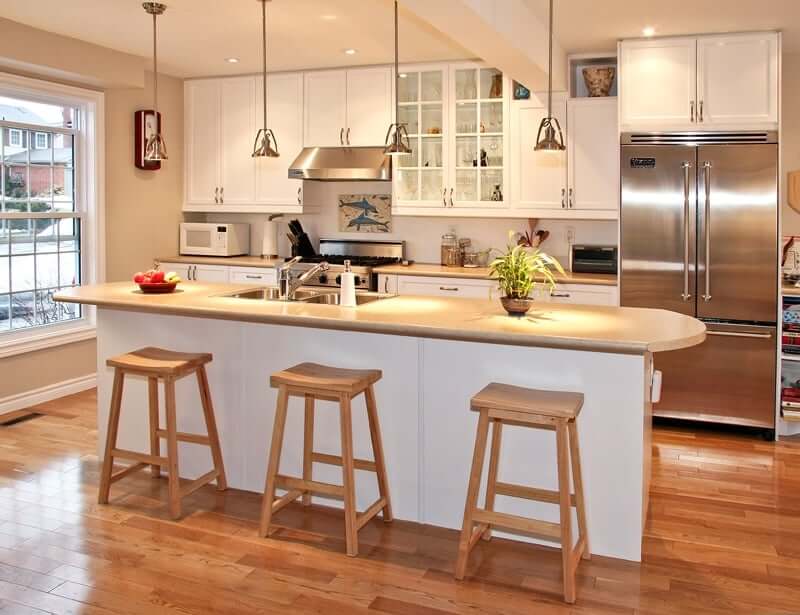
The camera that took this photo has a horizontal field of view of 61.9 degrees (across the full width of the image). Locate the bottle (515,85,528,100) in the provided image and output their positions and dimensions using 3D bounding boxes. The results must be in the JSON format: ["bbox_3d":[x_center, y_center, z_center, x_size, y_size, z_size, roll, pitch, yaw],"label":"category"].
[{"bbox_3d":[1.031,-1.818,5.666,0.136,0.122,0.042,21,-1,9],"label":"bottle"}]

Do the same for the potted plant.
[{"bbox_3d":[0.746,-0.104,3.651,0.361,0.298,0.372,9,-18,-15],"label":"potted plant"}]

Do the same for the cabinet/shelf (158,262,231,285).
[{"bbox_3d":[-2.006,-0.353,6.496,0.747,0.173,0.130,5,14,21],"label":"cabinet/shelf"}]

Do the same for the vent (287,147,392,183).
[{"bbox_3d":[-0.563,-1.328,6.121,0.906,0.309,0.385,7,14,28],"label":"vent"}]

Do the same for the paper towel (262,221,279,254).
[{"bbox_3d":[-1.308,-0.689,6.698,0.129,0.346,0.236,0,13,-3],"label":"paper towel"}]

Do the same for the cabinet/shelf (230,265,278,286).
[{"bbox_3d":[-1.399,-0.306,6.273,0.575,0.170,0.176,9,15,34],"label":"cabinet/shelf"}]

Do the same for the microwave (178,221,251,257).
[{"bbox_3d":[-1.846,-0.673,6.811,0.614,0.321,0.393,1,2,19],"label":"microwave"}]

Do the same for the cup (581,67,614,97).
[{"bbox_3d":[1.631,-1.858,5.507,0.236,0.253,0.142,5,14,18],"label":"cup"}]

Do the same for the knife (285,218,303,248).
[{"bbox_3d":[-1.037,-0.729,6.598,0.215,0.236,0.108,11,4,20],"label":"knife"}]

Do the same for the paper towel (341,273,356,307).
[{"bbox_3d":[-0.311,-0.105,3.937,0.079,0.187,0.205,-1,13,-7],"label":"paper towel"}]

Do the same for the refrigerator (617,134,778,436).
[{"bbox_3d":[2.259,-0.199,5.010,1.212,2.172,0.397,5,15,16],"label":"refrigerator"}]

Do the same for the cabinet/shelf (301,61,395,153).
[{"bbox_3d":[-0.591,-1.847,6.305,0.977,0.726,0.351,-11,23,-34],"label":"cabinet/shelf"}]

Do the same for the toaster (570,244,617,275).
[{"bbox_3d":[1.635,-0.401,5.601,0.382,0.216,0.254,1,2,22],"label":"toaster"}]

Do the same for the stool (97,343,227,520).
[{"bbox_3d":[-1.378,0.684,3.907,0.667,0.867,0.602,5,14,20],"label":"stool"}]

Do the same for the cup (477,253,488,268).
[{"bbox_3d":[0.770,-0.437,6.185,0.139,0.134,0.129,1,10,0],"label":"cup"}]

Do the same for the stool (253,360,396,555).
[{"bbox_3d":[-0.387,0.766,3.537,0.669,0.784,0.555,2,5,16],"label":"stool"}]

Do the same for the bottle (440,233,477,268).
[{"bbox_3d":[0.534,-0.540,6.222,0.306,0.291,0.299,1,13,4],"label":"bottle"}]

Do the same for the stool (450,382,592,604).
[{"bbox_3d":[0.615,0.835,3.232,0.634,0.871,0.593,4,14,16],"label":"stool"}]

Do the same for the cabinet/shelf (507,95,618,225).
[{"bbox_3d":[1.331,-1.175,5.725,1.048,0.908,0.354,-2,2,-15],"label":"cabinet/shelf"}]

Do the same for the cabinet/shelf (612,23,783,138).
[{"bbox_3d":[2.214,-1.685,5.291,1.369,0.708,0.715,-3,3,-6],"label":"cabinet/shelf"}]

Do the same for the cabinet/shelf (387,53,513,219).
[{"bbox_3d":[0.470,-1.522,5.755,1.586,1.596,0.503,1,3,17],"label":"cabinet/shelf"}]

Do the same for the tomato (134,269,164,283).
[{"bbox_3d":[-1.652,-0.192,4.336,0.178,0.076,0.131,-3,0,27],"label":"tomato"}]
